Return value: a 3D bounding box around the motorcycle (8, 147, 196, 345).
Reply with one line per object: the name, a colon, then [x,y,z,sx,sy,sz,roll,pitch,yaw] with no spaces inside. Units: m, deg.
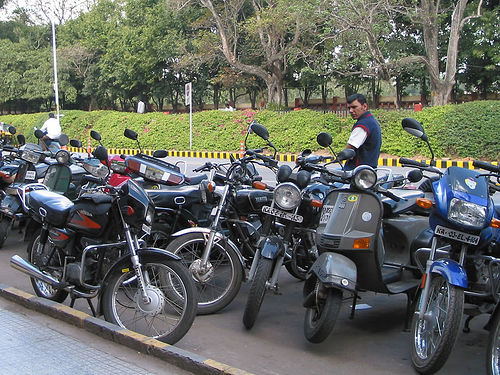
motorcycle: [-1.287,0.462,4.280,2.072,1.605,0.659,3,8,33]
